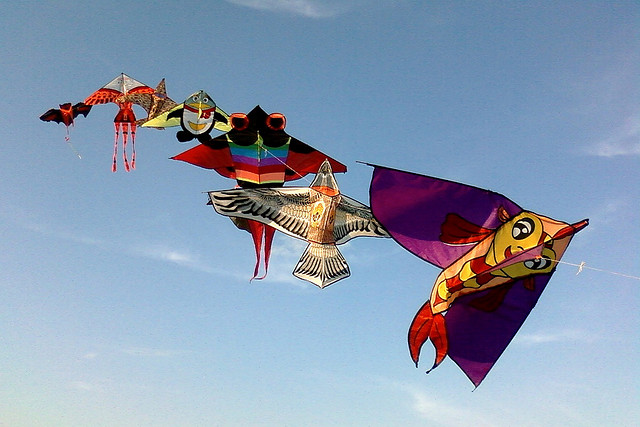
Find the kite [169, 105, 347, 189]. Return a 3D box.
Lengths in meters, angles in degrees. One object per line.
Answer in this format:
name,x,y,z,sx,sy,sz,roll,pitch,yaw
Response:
kite,-1.723,-1.373,24.559,5.532,3.216,2.611,3,-104,9

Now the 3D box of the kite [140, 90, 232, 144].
kite,-3.460,-2.703,23.851,2.932,1.247,1.672,6,-103,-7

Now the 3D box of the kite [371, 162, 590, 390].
kite,3.908,1.363,21.657,4.064,1.548,5.377,-16,-60,11

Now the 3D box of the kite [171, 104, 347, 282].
kite,-1.314,-0.805,22.581,5.141,1.396,4.611,0,-91,-2

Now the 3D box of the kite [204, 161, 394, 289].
kite,-0.305,-0.020,22.145,3.599,0.488,2.221,2,-98,-18
